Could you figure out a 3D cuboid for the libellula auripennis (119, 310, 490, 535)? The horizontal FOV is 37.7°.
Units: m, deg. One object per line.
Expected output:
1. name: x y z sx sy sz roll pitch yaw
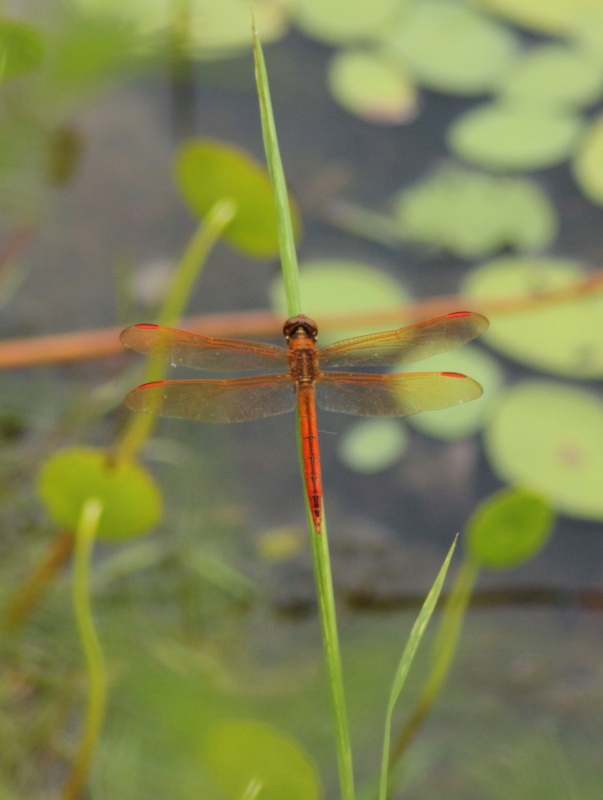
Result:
1. libellula auripennis: 0.006 0.014 0.707 0.300 0.045 0.154 -3 84 17
